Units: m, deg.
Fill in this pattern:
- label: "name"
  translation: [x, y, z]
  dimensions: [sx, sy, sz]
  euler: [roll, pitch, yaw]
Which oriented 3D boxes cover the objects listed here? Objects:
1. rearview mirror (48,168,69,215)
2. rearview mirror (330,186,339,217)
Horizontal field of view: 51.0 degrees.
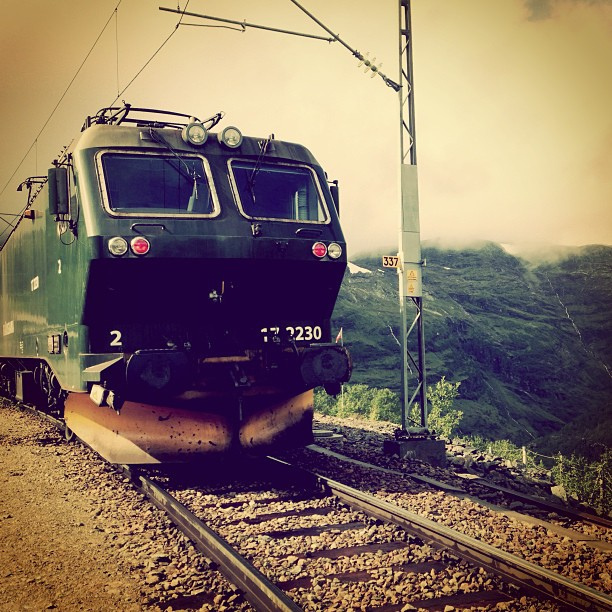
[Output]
- label: "rearview mirror"
  translation: [-2.817, -1.301, 7.282]
  dimensions: [0.257, 0.508, 0.099]
  euler: [-4, 0, 5]
- label: "rearview mirror"
  translation: [0.371, -1.368, 8.200]
  dimensions: [0.089, 0.371, 0.224]
  euler: [-4, 0, 0]
